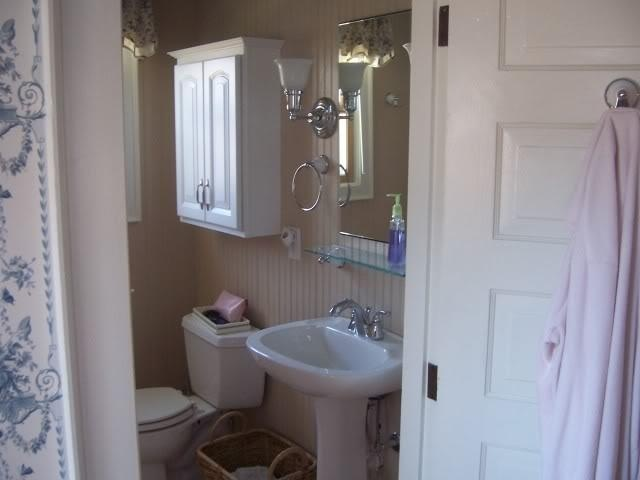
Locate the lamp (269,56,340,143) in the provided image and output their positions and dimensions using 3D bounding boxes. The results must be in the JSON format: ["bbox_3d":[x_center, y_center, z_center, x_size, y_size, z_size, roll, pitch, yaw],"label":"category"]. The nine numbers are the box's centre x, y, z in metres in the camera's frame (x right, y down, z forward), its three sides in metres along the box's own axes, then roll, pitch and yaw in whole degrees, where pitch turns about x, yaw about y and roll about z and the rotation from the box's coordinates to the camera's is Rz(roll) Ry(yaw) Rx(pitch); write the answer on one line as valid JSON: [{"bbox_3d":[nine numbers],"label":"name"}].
[{"bbox_3d":[-0.065,-0.616,2.411,0.354,0.488,0.270,-7,9,-43],"label":"lamp"}]

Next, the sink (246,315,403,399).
[{"bbox_3d":[0.039,0.484,2.147,0.650,0.195,0.495,8,10,35],"label":"sink"}]

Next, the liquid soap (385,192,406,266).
[{"bbox_3d":[0.302,-0.043,2.109,0.067,0.271,0.176,2,8,4],"label":"liquid soap"}]

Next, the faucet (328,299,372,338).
[{"bbox_3d":[0.099,0.318,2.188,0.091,0.142,0.218,1,-6,44],"label":"faucet"}]
